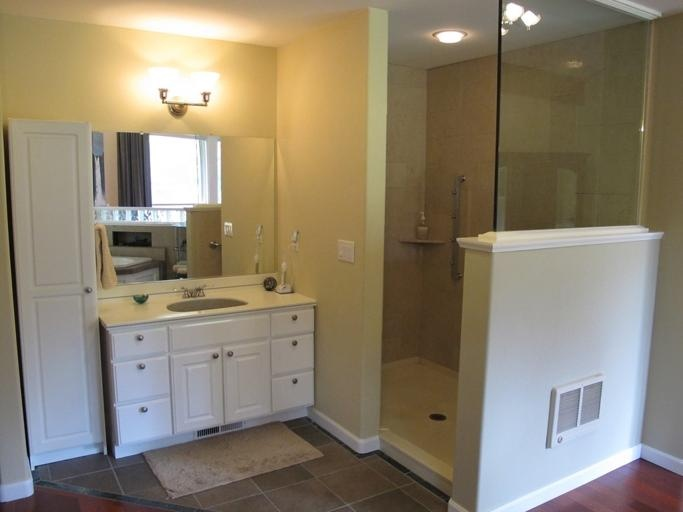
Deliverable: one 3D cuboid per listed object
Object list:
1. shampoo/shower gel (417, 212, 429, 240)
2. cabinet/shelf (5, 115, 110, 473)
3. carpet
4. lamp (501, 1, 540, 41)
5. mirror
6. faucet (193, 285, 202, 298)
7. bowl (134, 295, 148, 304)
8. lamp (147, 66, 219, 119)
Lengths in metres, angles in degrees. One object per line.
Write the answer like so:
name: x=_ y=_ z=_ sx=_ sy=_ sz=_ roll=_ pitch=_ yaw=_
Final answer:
shampoo/shower gel: x=0.758 y=-0.290 z=5.215 sx=0.118 sy=0.258 sz=0.069 roll=-1 pitch=9 yaw=5
cabinet/shelf: x=-1.913 y=0.214 z=3.765 sx=0.546 sy=2.231 sz=0.184 roll=-4 pitch=9 yaw=-13
carpet: x=-0.794 y=1.432 z=4.024 sx=1.168 sy=0.093 sz=0.588 roll=-7 pitch=10 yaw=-25
lamp: x=1.018 y=-1.351 z=3.199 sx=0.197 sy=0.206 sz=0.052 roll=4 pitch=17 yaw=-34
mirror: x=-1.340 y=-0.372 z=4.475 sx=1.249 sy=1.103 sz=0.062 roll=-1 pitch=5 yaw=-21
faucet: x=-1.171 y=0.281 z=4.542 sx=0.080 sy=0.071 sz=0.161 roll=-5 pitch=9 yaw=-14
bowl: x=-1.536 y=0.321 z=4.270 sx=0.071 sy=0.060 sz=0.072 roll=-1 pitch=5 yaw=0
lamp: x=-1.242 y=-1.281 z=4.398 sx=0.532 sy=0.313 sz=0.257 roll=-5 pitch=9 yaw=-33
